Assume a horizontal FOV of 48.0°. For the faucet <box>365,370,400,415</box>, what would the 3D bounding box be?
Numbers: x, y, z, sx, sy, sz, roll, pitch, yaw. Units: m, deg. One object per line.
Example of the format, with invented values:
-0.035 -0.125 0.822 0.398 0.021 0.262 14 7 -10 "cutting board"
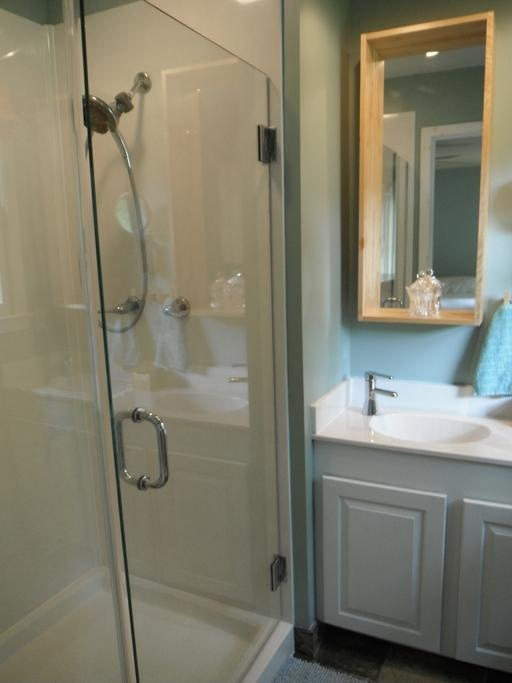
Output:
0.421 0.176 1.972 0.094 0.145 0.238 1 13 11 "faucet"
